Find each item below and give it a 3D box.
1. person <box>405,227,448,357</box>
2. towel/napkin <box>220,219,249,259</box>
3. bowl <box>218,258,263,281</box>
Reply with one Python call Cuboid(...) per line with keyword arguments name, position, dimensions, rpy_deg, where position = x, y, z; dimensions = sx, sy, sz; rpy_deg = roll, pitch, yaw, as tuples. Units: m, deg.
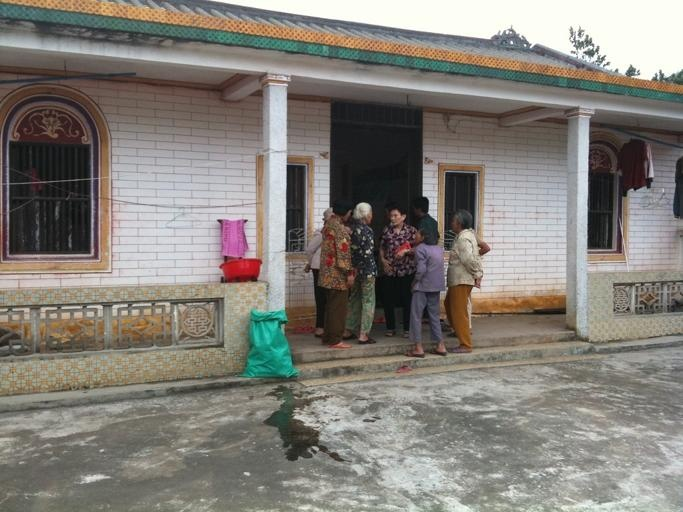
Cuboid(name="person", position=(1.280, 0.502, 8.388), dimensions=(0.564, 1.844, 0.602), rpy_deg=(2, 7, 9))
Cuboid(name="towel/napkin", position=(-1.743, -0.274, 9.291), dimensions=(0.690, 0.727, 0.134), rpy_deg=(-2, -7, -22))
Cuboid(name="bowl", position=(-1.388, 0.194, 8.026), dimensions=(0.483, 0.341, 0.337), rpy_deg=(5, 8, 36))
